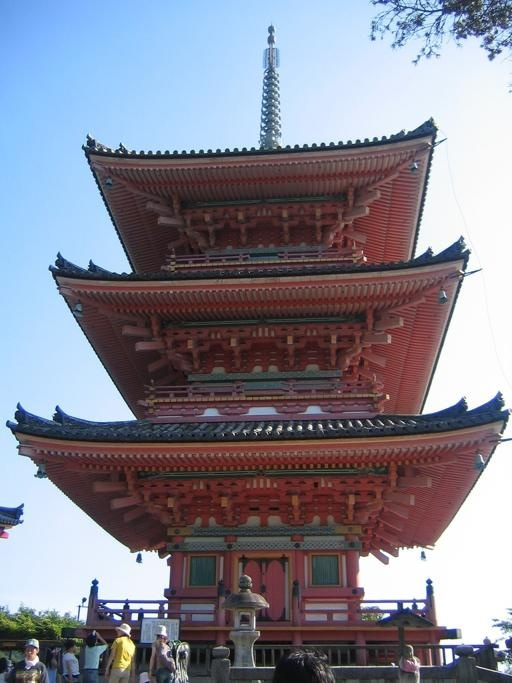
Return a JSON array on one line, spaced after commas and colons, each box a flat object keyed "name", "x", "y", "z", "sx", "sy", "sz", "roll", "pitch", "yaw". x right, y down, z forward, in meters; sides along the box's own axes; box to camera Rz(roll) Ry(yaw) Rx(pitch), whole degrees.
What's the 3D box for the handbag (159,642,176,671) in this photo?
[{"name": "handbag", "x": -1.235, "y": 4.377, "z": 9.890, "sx": 0.121, "sy": 0.315, "sz": 0.243, "roll": -34, "pitch": -27, "yaw": 0}]
